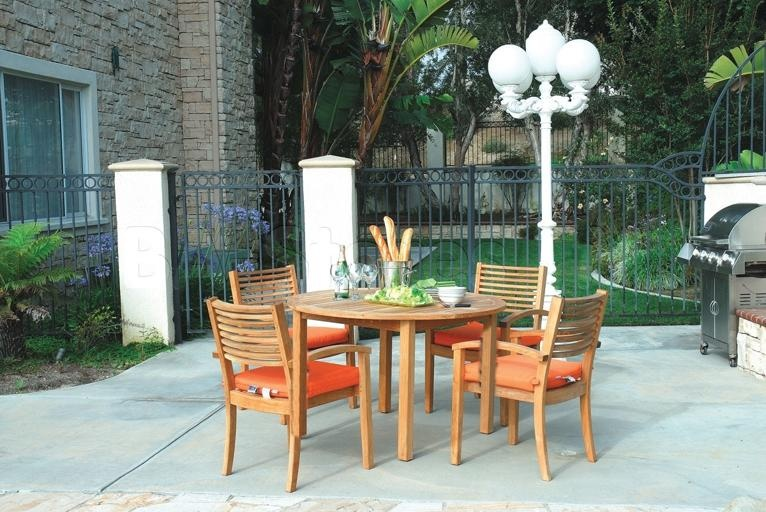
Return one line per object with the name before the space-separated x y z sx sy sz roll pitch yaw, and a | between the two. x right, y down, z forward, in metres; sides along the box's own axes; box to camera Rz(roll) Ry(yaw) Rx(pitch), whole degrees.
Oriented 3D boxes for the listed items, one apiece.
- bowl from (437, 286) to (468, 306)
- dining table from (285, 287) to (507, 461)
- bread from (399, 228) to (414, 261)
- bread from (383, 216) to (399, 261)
bowl | 0.645 0.360 6.488 0.179 0.131 0.188 -2 8 0
dining table | 0.092 0.702 6.331 1.557 1.174 1.620 6 9 38
bread | 0.227 -0.110 6.823 0.119 0.335 0.283 0 12 1
bread | 0.087 -0.181 6.812 0.130 0.403 0.304 0 12 1
